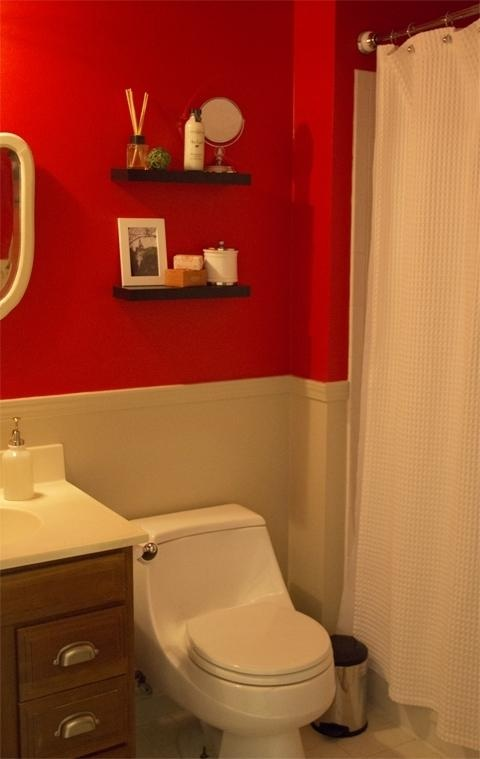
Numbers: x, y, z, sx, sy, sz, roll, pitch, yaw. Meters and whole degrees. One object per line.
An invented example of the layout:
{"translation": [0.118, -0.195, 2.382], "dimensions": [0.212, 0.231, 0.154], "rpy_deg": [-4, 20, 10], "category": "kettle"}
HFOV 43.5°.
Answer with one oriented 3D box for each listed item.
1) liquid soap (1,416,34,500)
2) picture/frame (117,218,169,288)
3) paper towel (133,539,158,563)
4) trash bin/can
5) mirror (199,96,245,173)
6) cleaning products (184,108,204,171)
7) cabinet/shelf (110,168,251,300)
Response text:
{"translation": [-0.505, 0.197, 1.378], "dimensions": [0.074, 0.164, 0.061], "rpy_deg": [-9, 9, -34], "category": "liquid soap"}
{"translation": [-0.264, -0.336, 1.608], "dimensions": [0.014, 0.215, 0.156], "rpy_deg": [8, 14, 42], "category": "picture/frame"}
{"translation": [-0.242, 0.439, 1.537], "dimensions": [0.048, 0.044, 0.058], "rpy_deg": [11, 22, 13], "category": "paper towel"}
{"translation": [0.288, 0.898, 1.766], "dimensions": [0.146, 0.243, 0.132], "rpy_deg": [2, 9, 7], "category": "trash bin/can"}
{"translation": [-0.054, -0.692, 1.723], "dimensions": [0.136, 0.218, 0.072], "rpy_deg": [3, -4, 6], "category": "mirror"}
{"translation": [-0.126, -0.634, 1.637], "dimensions": [0.065, 0.155, 0.130], "rpy_deg": [-4, 8, -3], "category": "cleaning products"}
{"translation": [-0.176, -0.395, 1.635], "dimensions": [0.337, 0.336, 0.112], "rpy_deg": [-6, 11, -34], "category": "cabinet/shelf"}
